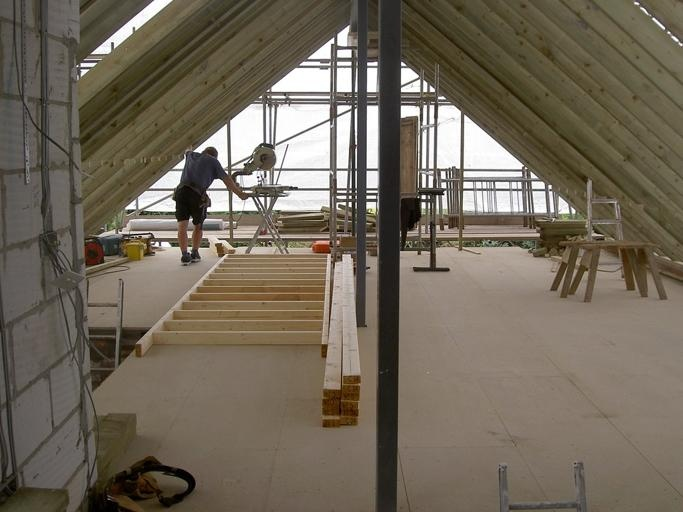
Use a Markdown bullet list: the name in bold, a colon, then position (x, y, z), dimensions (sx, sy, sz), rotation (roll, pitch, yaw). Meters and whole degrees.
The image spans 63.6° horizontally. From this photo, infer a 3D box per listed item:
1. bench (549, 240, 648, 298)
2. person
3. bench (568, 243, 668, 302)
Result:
- **bench**: position (2.348, 0.040, 4.994), dimensions (0.634, 0.487, 0.660), rotation (-1, 6, 4)
- **person**: position (-1.593, -0.562, 6.363), dimensions (0.917, 1.366, 0.562), rotation (7, 7, 42)
- **bench**: position (2.459, 0.122, 5.001), dimensions (0.704, 0.505, 0.703), rotation (-3, 2, -10)
